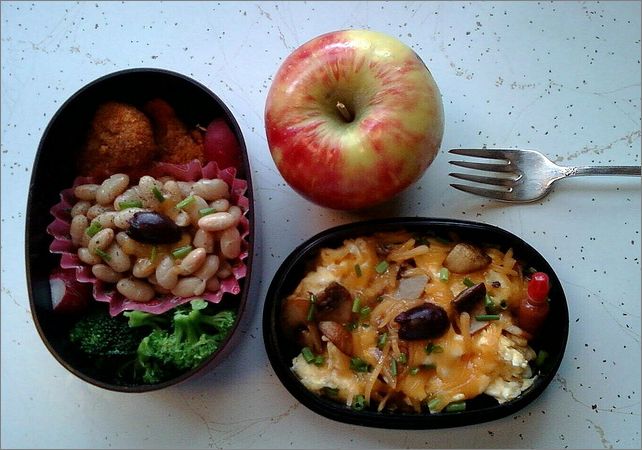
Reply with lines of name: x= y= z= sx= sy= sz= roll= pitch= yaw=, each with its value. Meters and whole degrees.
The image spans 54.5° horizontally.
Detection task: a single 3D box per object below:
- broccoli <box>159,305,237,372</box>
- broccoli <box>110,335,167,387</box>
broccoli: x=-0.471 y=0.392 z=2.327 sx=0.265 sy=0.252 sz=0.097 roll=34 pitch=-16 yaw=-25
broccoli: x=-0.652 y=0.508 z=2.249 sx=0.176 sy=0.211 sz=0.105 roll=12 pitch=26 yaw=-3
